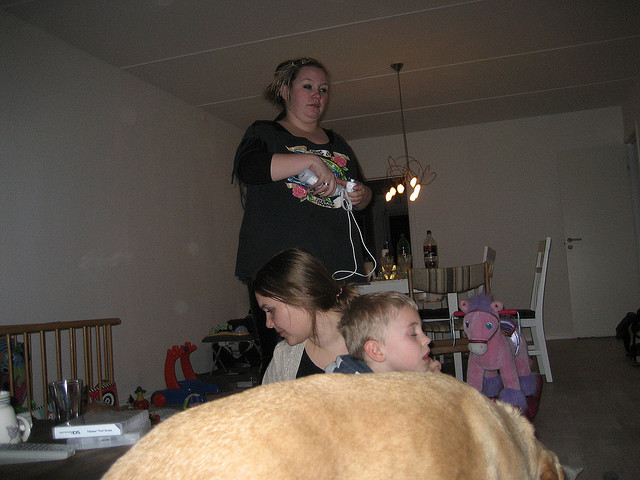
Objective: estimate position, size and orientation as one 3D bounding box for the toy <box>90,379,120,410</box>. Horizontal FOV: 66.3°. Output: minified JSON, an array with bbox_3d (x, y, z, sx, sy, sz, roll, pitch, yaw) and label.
[{"bbox_3d":[-1.378,1.011,3.072,0.098,0.181,0.183,-18,-9,36],"label":"toy"}]

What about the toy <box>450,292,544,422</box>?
[{"bbox_3d":[0.895,0.532,2.433,0.334,0.560,0.723,-4,-5,31],"label":"toy"}]

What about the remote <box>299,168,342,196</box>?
[{"bbox_3d":[0.013,-0.199,1.614,0.166,0.056,0.054,34,-7,-21],"label":"remote"}]

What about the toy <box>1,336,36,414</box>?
[{"bbox_3d":[-1.638,0.712,2.651,0.162,0.390,0.542,2,3,-30],"label":"toy"}]

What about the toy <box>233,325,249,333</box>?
[{"bbox_3d":[-0.707,0.805,4.377,0.138,0.050,0.103,3,3,-11],"label":"toy"}]

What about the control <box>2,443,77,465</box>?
[{"bbox_3d":[-0.655,0.491,1.130,0.127,0.018,0.068,3,-2,-5],"label":"control"}]

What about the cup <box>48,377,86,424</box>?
[{"bbox_3d":[-0.714,0.458,1.391,0.082,0.134,0.085,2,11,0],"label":"cup"}]

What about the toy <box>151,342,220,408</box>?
[{"bbox_3d":[-1.100,1.094,3.991,0.502,0.477,0.434,-3,-2,31],"label":"toy"}]

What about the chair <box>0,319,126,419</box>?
[{"bbox_3d":[-1.380,0.661,2.577,0.732,0.539,0.405,0,-3,-18],"label":"chair"}]

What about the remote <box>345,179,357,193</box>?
[{"bbox_3d":[0.108,-0.191,1.691,0.040,0.042,0.031,5,-5,2],"label":"remote"}]

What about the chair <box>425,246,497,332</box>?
[{"bbox_3d":[1.310,0.490,4.177,0.505,0.768,0.504,-7,2,26],"label":"chair"}]
